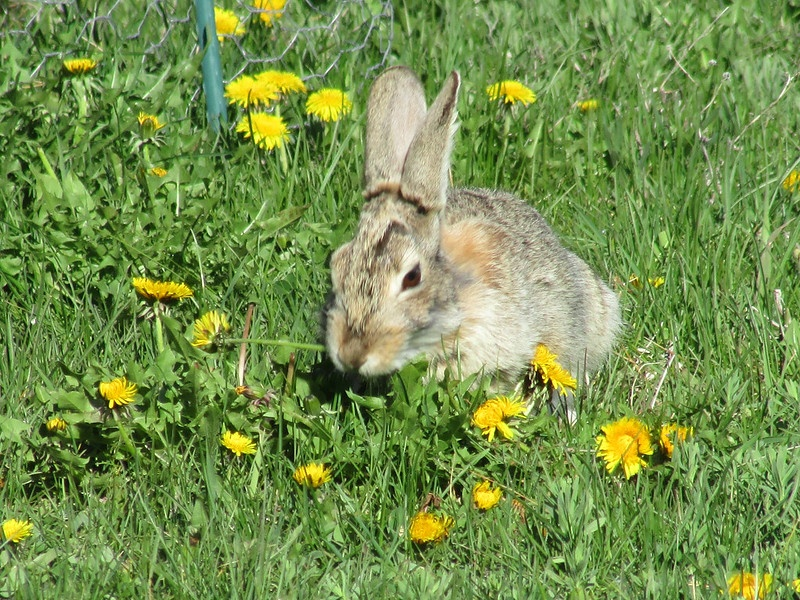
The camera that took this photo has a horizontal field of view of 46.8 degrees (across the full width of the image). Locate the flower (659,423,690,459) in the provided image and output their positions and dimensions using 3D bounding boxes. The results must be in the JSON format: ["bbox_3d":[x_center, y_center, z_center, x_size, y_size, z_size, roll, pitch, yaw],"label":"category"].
[{"bbox_3d":[0.955,0.479,3.233,0.097,0.122,0.048,-40,113,-19],"label":"flower"}]

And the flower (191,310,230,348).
[{"bbox_3d":[-0.730,0.128,3.520,0.130,0.061,0.126,-41,62,12],"label":"flower"}]

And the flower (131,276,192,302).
[{"bbox_3d":[-0.894,-0.028,3.481,0.120,0.136,0.068,6,70,-1],"label":"flower"}]

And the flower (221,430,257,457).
[{"bbox_3d":[-0.562,0.496,3.234,0.096,0.093,0.028,46,109,2],"label":"flower"}]

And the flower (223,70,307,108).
[{"bbox_3d":[-0.686,-1.041,4.614,0.244,0.277,0.143,-3,102,4],"label":"flower"}]

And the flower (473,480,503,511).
[{"bbox_3d":[0.290,0.660,3.114,0.085,0.062,0.098,8,47,19],"label":"flower"}]

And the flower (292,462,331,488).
[{"bbox_3d":[-0.301,0.599,3.167,0.118,0.158,0.087,-5,86,-1],"label":"flower"}]

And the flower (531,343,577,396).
[{"bbox_3d":[0.611,0.288,3.690,0.201,0.405,0.144,19,86,1],"label":"flower"}]

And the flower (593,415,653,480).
[{"bbox_3d":[0.784,0.513,3.214,0.210,0.141,0.182,-18,86,-2],"label":"flower"}]

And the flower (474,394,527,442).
[{"bbox_3d":[0.355,0.395,3.286,0.140,0.062,0.161,-10,40,34],"label":"flower"}]

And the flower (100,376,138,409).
[{"bbox_3d":[-0.979,0.322,3.221,0.099,0.054,0.107,21,64,6],"label":"flower"}]

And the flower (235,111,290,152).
[{"bbox_3d":[-0.649,-0.809,4.469,0.191,0.086,0.219,15,40,-11],"label":"flower"}]

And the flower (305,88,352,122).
[{"bbox_3d":[-0.358,-0.967,4.583,0.160,0.077,0.204,3,103,-5],"label":"flower"}]
